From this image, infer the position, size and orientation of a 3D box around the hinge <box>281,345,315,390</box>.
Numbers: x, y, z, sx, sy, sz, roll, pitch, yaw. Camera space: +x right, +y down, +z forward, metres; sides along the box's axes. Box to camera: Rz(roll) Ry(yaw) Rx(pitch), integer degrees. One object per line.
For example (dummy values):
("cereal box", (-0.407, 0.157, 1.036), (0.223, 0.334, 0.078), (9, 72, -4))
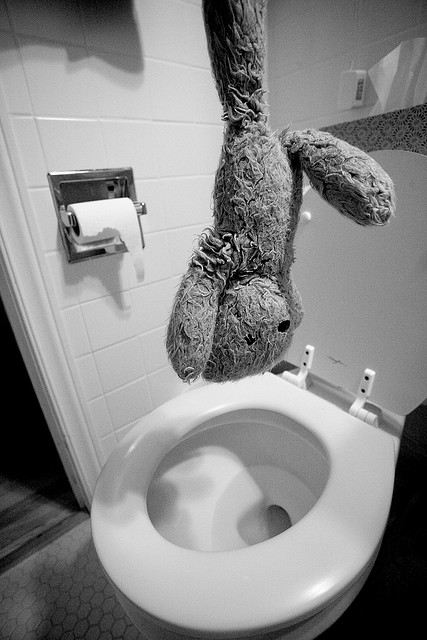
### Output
("hinge", (0.172, 0.100, 0.888), (0.037, 0.095, 0.046), (1, 15, -22))

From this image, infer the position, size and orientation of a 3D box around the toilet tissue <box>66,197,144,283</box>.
("toilet tissue", (-0.171, -0.127, 0.731), (0.109, 0.127, 0.079), (-16, 33, -18))

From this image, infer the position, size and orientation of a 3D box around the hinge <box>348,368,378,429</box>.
("hinge", (0.263, 0.138, 0.789), (0.038, 0.094, 0.047), (22, 39, 14))

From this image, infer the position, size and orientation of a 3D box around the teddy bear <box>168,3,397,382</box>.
("teddy bear", (0.059, -0.113, 0.479), (0.242, 0.370, 0.147), (-9, 31, -9))

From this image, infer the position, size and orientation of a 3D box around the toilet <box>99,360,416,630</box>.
("toilet", (0.076, 0.313, 0.746), (0.406, 0.302, 0.328), (-38, 51, -27))
